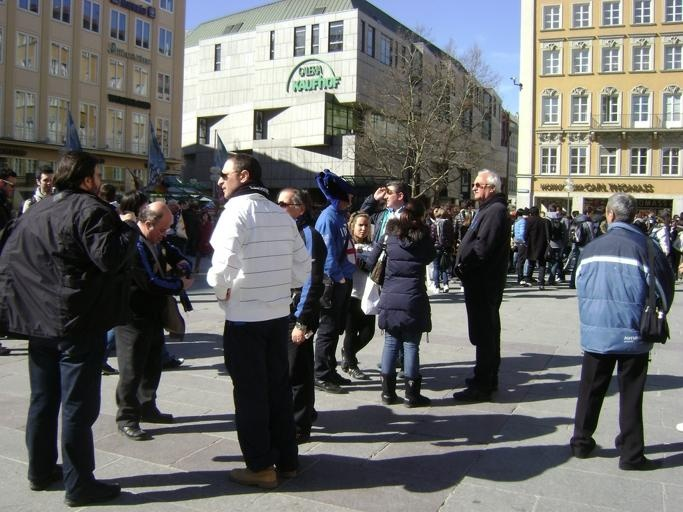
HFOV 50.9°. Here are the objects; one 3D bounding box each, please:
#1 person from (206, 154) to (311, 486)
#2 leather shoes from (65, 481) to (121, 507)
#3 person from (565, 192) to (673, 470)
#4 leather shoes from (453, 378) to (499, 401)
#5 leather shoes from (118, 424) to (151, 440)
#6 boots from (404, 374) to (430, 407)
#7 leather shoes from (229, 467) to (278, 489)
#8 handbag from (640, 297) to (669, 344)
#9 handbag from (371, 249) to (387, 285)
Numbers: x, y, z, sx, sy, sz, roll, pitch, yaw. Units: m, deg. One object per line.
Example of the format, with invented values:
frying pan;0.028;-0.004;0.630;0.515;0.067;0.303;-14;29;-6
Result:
person;-0.691;0.493;5.878;0.741;2.626;0.702;1;7;-4
leather shoes;-1.886;1.815;5.441;0.399;0.204;0.159;-3;6;-20
person;2.418;0.635;6.216;0.761;2.315;0.476;5;8;25
leather shoes;1.424;1.436;7.664;0.524;0.265;0.200;1;-3;-7
leather shoes;-1.868;1.586;6.513;0.302;0.129;0.123;2;-1;25
boots;0.813;1.402;7.439;0.379;0.363;0.168;-6;7;-43
leather shoes;-0.692;1.779;5.813;0.374;0.175;0.149;5;-1;23
handbag;2.647;0.547;6.048;0.216;0.419;0.205;7;9;33
handbag;0.413;0.112;7.791;0.149;0.358;0.358;17;2;7
